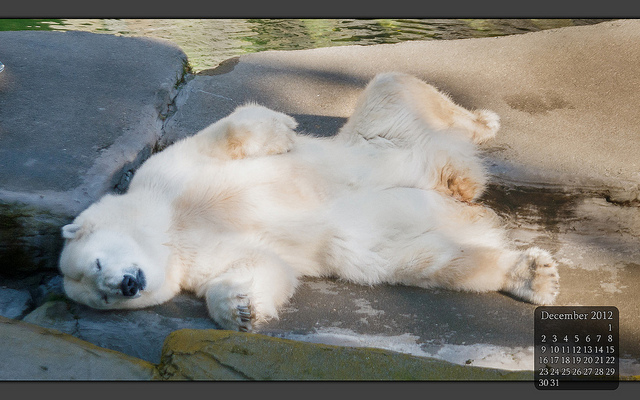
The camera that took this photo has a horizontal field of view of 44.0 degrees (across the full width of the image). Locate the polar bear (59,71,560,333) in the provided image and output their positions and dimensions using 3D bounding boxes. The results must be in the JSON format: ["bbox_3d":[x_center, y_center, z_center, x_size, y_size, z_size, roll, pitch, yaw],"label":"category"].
[{"bbox_3d":[-0.140,0.059,4.798,2.760,0.718,1.277,-4,53,-5],"label":"polar bear"}]
